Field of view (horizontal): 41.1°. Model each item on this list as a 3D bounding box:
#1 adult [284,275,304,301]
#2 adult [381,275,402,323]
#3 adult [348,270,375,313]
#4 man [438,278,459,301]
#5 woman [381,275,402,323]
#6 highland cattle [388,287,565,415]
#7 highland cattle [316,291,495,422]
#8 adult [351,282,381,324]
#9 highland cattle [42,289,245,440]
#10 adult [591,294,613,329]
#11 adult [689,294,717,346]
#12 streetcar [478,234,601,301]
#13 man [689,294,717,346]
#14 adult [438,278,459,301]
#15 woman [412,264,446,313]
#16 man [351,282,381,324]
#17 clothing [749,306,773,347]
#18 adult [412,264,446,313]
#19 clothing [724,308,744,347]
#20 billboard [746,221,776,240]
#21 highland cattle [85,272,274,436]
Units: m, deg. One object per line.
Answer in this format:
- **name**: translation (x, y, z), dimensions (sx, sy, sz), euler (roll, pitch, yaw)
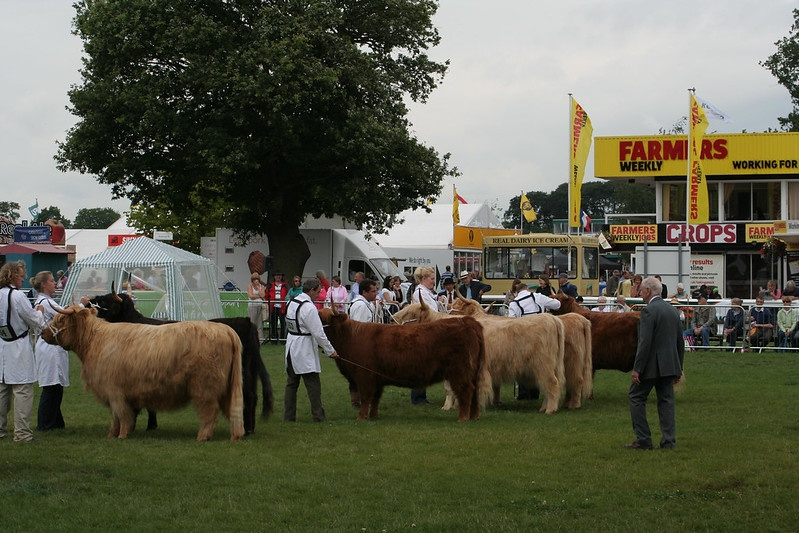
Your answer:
- **adult**: translation (-3.036, 0.592, 30.981), dimensions (0.561, 0.954, 0.432), euler (4, -1, 2)
- **adult**: translation (-0.194, 0.873, 28.758), dimensions (0.374, 0.406, 1.216), euler (-6, -33, -2)
- **adult**: translation (-1.032, 0.530, 29.123), dimensions (0.866, 1.045, 0.835), euler (-1, 0, 29)
- **man**: translation (1.286, 0.552, 27.321), dimensions (0.452, 0.680, 0.248), euler (4, -1, 1)
- **woman**: translation (-0.194, 0.873, 28.758), dimensions (0.374, 0.406, 1.216), euler (-6, -33, -2)
- **highland cattle**: translation (2.223, 1.822, 22.253), dimensions (4.609, 2.803, 2.272), euler (-2, -3, 23)
- **highland cattle**: translation (-0.025, 1.970, 22.203), dimensions (3.589, 2.277, 1.381), euler (2, 12, 8)
- **adult**: translation (-0.716, 0.746, 24.048), dimensions (0.643, 1.267, 1.224), euler (0, 4, 7)
- **highland cattle**: translation (-4.994, 2.035, 20.758), dimensions (3.924, 2.742, 1.315), euler (3, 9, 0)
- **adult**: translation (5.637, 1.245, 30.719), dimensions (0.810, 0.862, 1.473), euler (1, -2, 18)
- **adult**: translation (8.743, 1.553, 30.748), dimensions (0.675, 1.329, 0.768), euler (7, 13, 30)
- **streetcar**: translation (5.318, 0.404, 40.479), dimensions (3.976, 2.356, 2.965), euler (0, -20, 16)
- **man**: translation (8.746, 1.556, 30.736), dimensions (0.693, 1.329, 0.669), euler (6, 12, 26)
- **adult**: translation (1.284, 0.549, 27.216), dimensions (0.452, 0.680, 0.248), euler (4, -1, 1)
- **woman**: translation (0.651, 0.514, 23.711), dimensions (0.546, 1.111, 1.176), euler (6, 15, 17)
- **man**: translation (-0.803, 0.722, 24.086), dimensions (0.643, 1.267, 1.224), euler (0, 4, 7)
- **clothing**: translation (10.274, 1.661, 30.211), dimensions (0.643, 1.112, 0.390), euler (4, 11, 20)
- **adult**: translation (0.651, 0.530, 23.717), dimensions (0.567, 1.143, 1.194), euler (6, 17, 13)
- **clothing**: translation (9.617, 1.683, 30.656), dimensions (0.447, 1.386, 0.696), euler (11, 29, 40)
- **billboard**: translation (16.119, -1.610, 47.838), dimensions (1.161, 0.899, 0.679), euler (-1, 13, 6)
- **highland cattle**: translation (-5.370, 1.678, 21.176), dimensions (5.442, 3.415, 1.778), euler (4, 2, 27)
